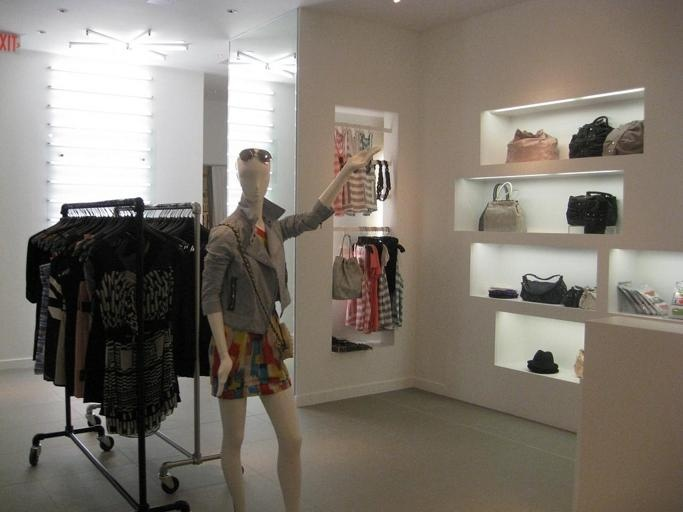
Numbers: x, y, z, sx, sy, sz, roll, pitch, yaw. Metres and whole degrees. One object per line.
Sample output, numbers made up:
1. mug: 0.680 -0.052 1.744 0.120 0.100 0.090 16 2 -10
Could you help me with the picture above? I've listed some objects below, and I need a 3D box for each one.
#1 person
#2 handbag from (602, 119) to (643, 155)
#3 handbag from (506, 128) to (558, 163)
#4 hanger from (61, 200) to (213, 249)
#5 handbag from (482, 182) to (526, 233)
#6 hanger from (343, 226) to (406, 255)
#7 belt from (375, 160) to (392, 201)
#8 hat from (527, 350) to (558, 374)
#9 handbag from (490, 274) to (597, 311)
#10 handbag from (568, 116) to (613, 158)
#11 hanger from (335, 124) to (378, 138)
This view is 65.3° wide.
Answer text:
1. person: -0.369 0.399 2.790 0.661 1.896 0.395 0 4 -1
2. handbag: 2.169 -0.876 4.066 0.272 0.301 0.227 5 0 14
3. handbag: 1.676 -0.947 4.706 0.414 0.303 0.259 4 7 42
4. hanger: -1.359 -0.233 3.630 0.642 0.297 1.333 -4 7 -44
5. handbag: 1.529 -0.440 4.950 0.449 0.573 0.286 0 -2 42
6. hanger: 0.240 -0.188 5.350 0.787 0.340 0.252 -4 4 -18
7. belt: 0.422 -0.755 5.352 0.085 0.348 0.233 3 5 10
8. hat: 1.782 0.914 4.661 0.272 0.173 0.230 1 4 8
9. handbag: 1.804 0.286 4.686 0.323 0.242 0.971 -3 6 -42
10. handbag: 2.007 -0.938 4.311 0.346 0.362 0.269 -1 16 30
11. hanger: 0.143 -1.253 5.265 0.497 0.073 0.112 -2 5 -28
